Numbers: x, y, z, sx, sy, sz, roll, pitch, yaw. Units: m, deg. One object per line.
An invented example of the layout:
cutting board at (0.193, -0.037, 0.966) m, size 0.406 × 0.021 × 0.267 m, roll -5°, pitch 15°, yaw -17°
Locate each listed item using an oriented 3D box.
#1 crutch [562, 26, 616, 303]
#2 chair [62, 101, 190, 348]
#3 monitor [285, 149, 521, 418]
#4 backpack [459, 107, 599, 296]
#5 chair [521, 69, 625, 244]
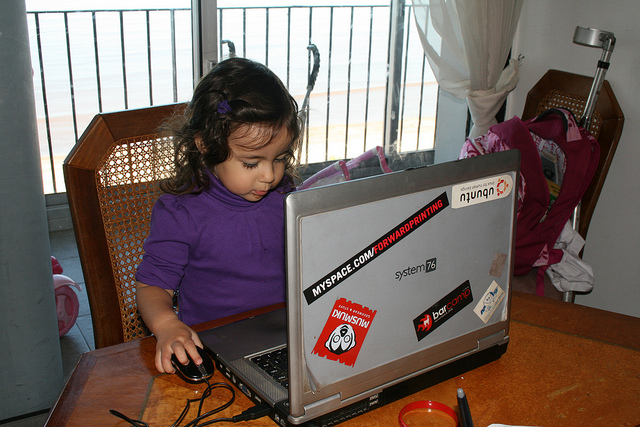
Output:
crutch at (1.032, -0.224, 2.040) m, size 0.212 × 1.188 × 0.162 m, roll -4°, pitch 12°, yaw -41°
chair at (-0.498, 0.032, 1.370) m, size 0.374 × 0.629 × 0.225 m, roll -18°, pitch 25°, yaw -39°
monitor at (0.110, 0.091, 1.174) m, size 0.586 × 0.489 × 0.434 m, roll -11°, pitch 21°, yaw -24°
backpack at (0.787, -0.041, 2.058) m, size 0.561 × 0.617 × 0.440 m, roll 2°, pitch 11°, yaw 8°
chair at (1.078, -0.159, 2.293) m, size 0.446 × 0.837 × 0.474 m, roll 25°, pitch 42°, yaw 33°
